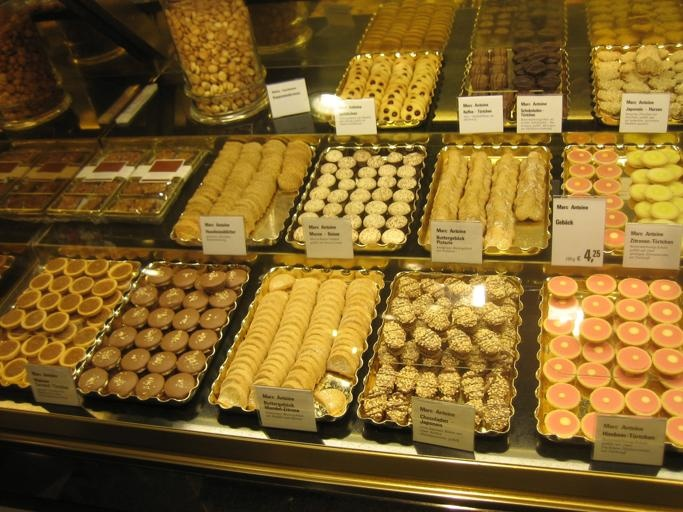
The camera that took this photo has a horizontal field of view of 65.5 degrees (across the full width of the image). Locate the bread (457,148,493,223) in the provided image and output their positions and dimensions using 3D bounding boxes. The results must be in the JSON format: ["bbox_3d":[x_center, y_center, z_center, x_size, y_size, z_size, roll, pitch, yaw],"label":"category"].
[{"bbox_3d":[0.751,-0.380,2.970,0.193,0.133,0.585,10,46,14],"label":"bread"}]

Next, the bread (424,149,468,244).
[{"bbox_3d":[0.604,-0.381,3.049,0.182,0.162,0.759,-38,27,42],"label":"bread"}]

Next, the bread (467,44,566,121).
[{"bbox_3d":[1.010,-1.079,3.303,0.635,0.156,0.603,9,42,19],"label":"bread"}]

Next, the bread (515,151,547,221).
[{"bbox_3d":[1.041,-0.367,2.897,0.195,0.111,0.545,-2,46,28],"label":"bread"}]
